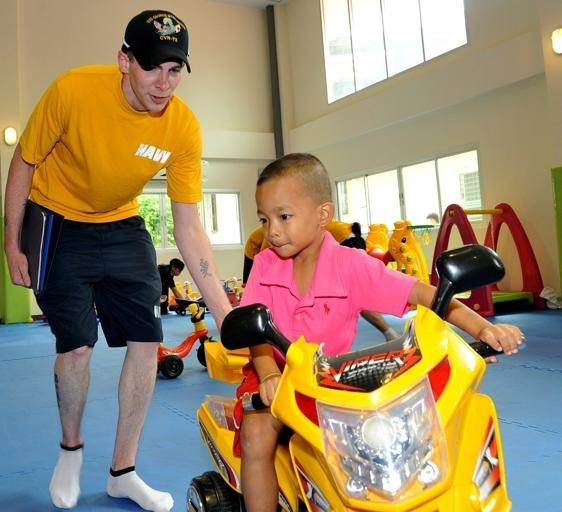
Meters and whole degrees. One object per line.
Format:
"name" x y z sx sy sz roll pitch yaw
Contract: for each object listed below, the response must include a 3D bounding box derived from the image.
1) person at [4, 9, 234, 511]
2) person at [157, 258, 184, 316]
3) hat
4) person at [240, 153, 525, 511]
"person" -0.612 0.004 1.587 0.829 1.963 0.567 0 3 -5
"person" -1.812 0.468 6.937 0.523 0.944 0.317 22 22 19
"hat" -0.416 -0.688 1.400 0.191 0.143 0.276 0 22 -30
"person" 0.118 0.123 0.976 0.436 0.784 0.657 0 3 -16
